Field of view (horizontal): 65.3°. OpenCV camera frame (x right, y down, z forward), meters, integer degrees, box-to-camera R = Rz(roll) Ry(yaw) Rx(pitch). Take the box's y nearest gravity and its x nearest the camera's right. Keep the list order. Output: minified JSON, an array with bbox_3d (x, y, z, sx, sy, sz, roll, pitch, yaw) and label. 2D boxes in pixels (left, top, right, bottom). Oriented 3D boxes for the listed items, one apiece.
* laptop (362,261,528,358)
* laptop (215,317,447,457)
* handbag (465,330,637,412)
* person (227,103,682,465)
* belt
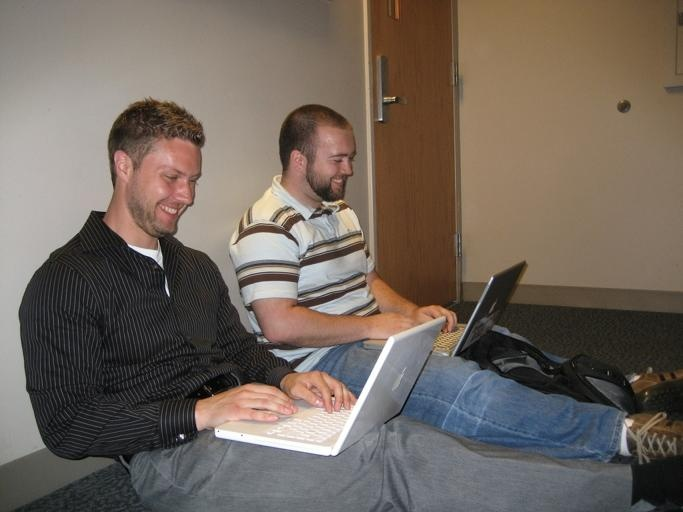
[{"bbox_3d":[0.423,0.203,1.992,0.479,0.264,0.507,0,2,11],"label":"laptop"},{"bbox_3d":[0.017,0.321,1.436,0.617,0.294,0.576,4,-2,-24],"label":"laptop"},{"bbox_3d":[0.675,0.376,1.748,0.363,0.122,0.269,10,7,25],"label":"handbag"},{"bbox_3d":[0.328,0.013,2.062,1.589,1.116,0.772,2,12,29],"label":"person"},{"bbox_3d":[-0.386,0.401,1.374,0.368,0.092,0.268,-28,10,-14],"label":"belt"}]
